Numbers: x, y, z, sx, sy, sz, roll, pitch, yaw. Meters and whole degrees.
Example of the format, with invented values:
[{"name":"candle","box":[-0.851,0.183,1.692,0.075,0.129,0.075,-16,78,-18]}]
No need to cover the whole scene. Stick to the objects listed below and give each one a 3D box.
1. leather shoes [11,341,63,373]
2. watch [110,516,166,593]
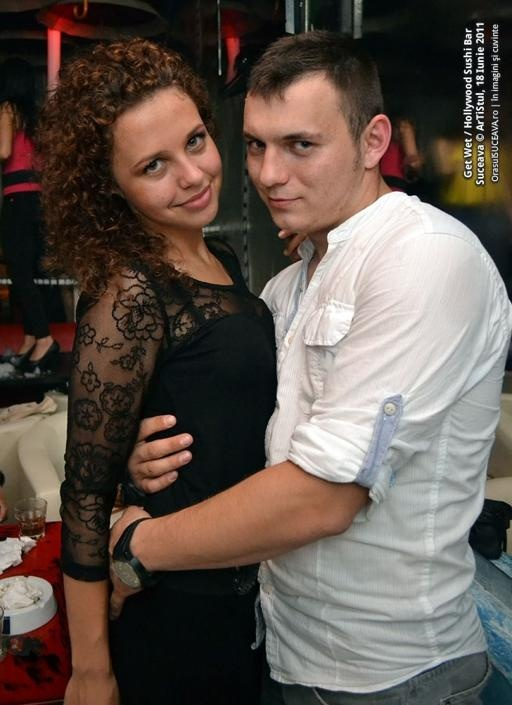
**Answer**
[{"name":"leather shoes","box":[-1.200,0.005,3.547,0.274,0.110,0.142,-11,26,-25]},{"name":"watch","box":[-0.225,0.352,1.139,0.070,0.088,0.053,30,5,-9]}]
